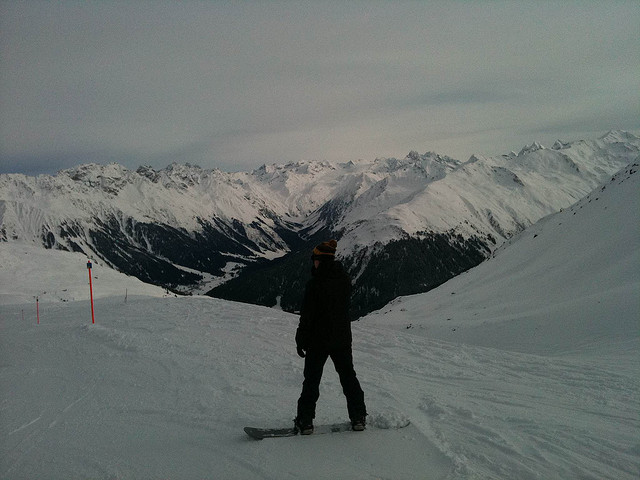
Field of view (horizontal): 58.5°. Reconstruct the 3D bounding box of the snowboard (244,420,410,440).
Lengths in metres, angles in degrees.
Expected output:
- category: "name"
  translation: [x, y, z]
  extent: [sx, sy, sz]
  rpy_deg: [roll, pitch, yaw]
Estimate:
- category: "snowboard"
  translation: [0.163, 4.542, 13.622]
  extent: [2.188, 0.180, 0.375]
  rpy_deg: [-1, 5, -13]
